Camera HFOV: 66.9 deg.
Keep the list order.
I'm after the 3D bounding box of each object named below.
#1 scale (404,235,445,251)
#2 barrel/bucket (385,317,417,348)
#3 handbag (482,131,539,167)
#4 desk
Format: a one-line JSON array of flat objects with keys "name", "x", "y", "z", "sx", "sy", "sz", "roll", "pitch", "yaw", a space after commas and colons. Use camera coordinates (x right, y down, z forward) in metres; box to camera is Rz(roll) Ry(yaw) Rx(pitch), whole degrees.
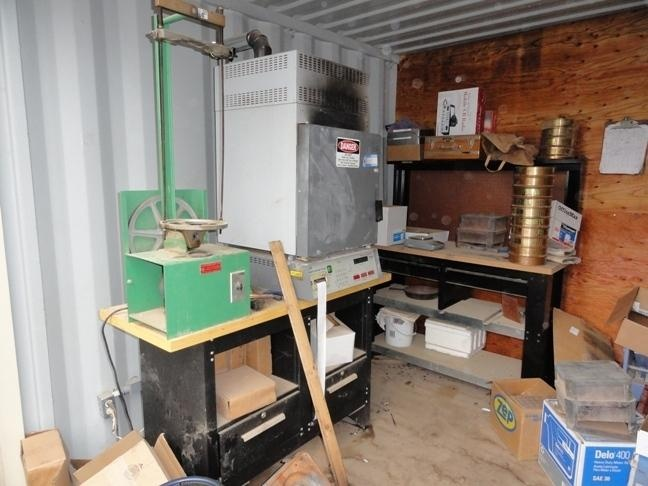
[{"name": "scale", "x": 0.826, "y": -0.002, "z": 4.039, "sx": 0.216, "sy": 0.071, "sz": 0.168, "roll": 4, "pitch": 9, "yaw": 37}, {"name": "barrel/bucket", "x": 0.650, "y": 0.755, "z": 4.289, "sx": 0.264, "sy": 0.241, "sz": 0.247, "roll": 1, "pitch": 1, "yaw": 0}, {"name": "handbag", "x": 1.381, "y": -0.775, "z": 3.930, "sx": 0.414, "sy": 0.117, "sz": 0.454, "roll": -7, "pitch": 1, "yaw": 37}, {"name": "desk", "x": 1.050, "y": 0.532, "z": 4.082, "sx": 1.439, "sy": 0.859, "sz": 0.485, "roll": 8, "pitch": 8, "yaw": 30}]
